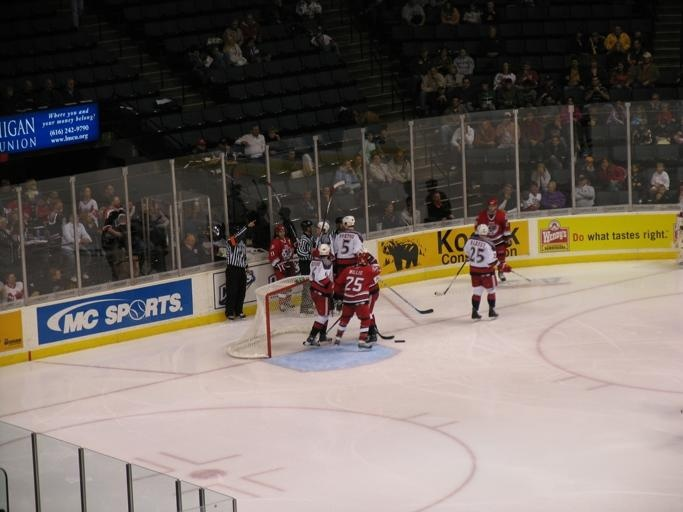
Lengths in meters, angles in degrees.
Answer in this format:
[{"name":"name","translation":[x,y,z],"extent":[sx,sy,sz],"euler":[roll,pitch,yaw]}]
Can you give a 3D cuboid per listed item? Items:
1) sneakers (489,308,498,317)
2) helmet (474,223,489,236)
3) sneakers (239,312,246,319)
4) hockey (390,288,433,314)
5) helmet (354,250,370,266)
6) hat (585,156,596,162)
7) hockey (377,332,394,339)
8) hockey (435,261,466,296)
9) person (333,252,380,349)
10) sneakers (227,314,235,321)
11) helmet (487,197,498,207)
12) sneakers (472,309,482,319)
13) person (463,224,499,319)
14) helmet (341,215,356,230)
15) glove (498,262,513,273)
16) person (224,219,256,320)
[{"name":"sneakers","translation":[2.564,0.961,17.271],"extent":[0.199,0.181,0.090],"euler":[-16,21,-42]},{"name":"helmet","translation":[2.380,-0.455,17.171],"extent":[0.218,0.191,0.177],"euler":[-11,24,-19]},{"name":"sneakers","translation":[-1.747,1.050,17.832],"extent":[0.131,0.133,0.330],"euler":[0,-1,-6]},{"name":"hockey","translation":[1.247,0.875,18.075],"extent":[0.296,0.101,0.938],"euler":[14,13,-36]},{"name":"helmet","translation":[0.322,0.033,15.833],"extent":[0.194,0.239,0.128],"euler":[-1,6,21]},{"name":"hat","translation":[4.868,-1.923,19.990],"extent":[0.156,0.111,0.048],"euler":[-5,3,-10]},{"name":"hockey","translation":[0.722,1.294,16.498],"extent":[0.279,0.142,0.402],"euler":[-4,2,1]},{"name":"hockey","translation":[2.062,0.449,19.551],"extent":[0.139,0.052,0.760],"euler":[15,-38,-9]},{"name":"person","translation":[0.250,0.720,15.897],"extent":[0.628,1.502,0.622],"euler":[-6,3,-18]},{"name":"sneakers","translation":[-1.927,1.072,17.702],"extent":[0.099,0.100,0.258],"euler":[1,7,-8]},{"name":"helmet","translation":[2.804,-0.990,18.966],"extent":[0.136,0.145,0.306],"euler":[-4,2,4]},{"name":"sneakers","translation":[2.294,0.984,17.172],"extent":[0.100,0.177,0.193],"euler":[14,26,43]},{"name":"person","translation":[2.360,0.267,17.229],"extent":[0.509,1.614,0.673],"euler":[-4,3,7]},{"name":"helmet","translation":[0.109,-0.564,16.672],"extent":[0.184,0.204,0.232],"euler":[-4,21,-35]},{"name":"glove","translation":[3.048,0.224,19.026],"extent":[0.231,0.087,0.220],"euler":[7,7,11]},{"name":"person","translation":[-1.826,0.305,17.583],"extent":[0.451,1.213,0.504],"euler":[-5,3,-14]}]
